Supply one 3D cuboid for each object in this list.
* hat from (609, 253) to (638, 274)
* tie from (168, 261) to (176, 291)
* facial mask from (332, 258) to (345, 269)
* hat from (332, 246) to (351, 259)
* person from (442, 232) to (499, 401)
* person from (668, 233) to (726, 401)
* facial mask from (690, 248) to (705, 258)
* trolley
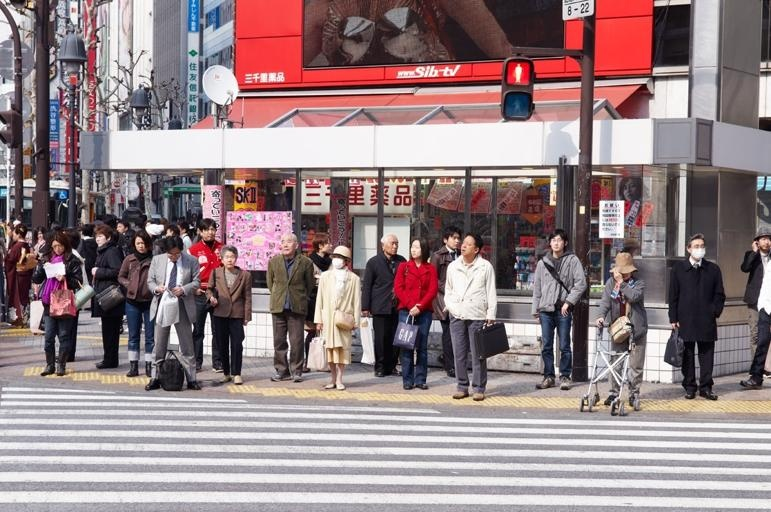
[{"bbox_3d":[3.915,0.111,17.857,0.322,0.242,0.417,2,7,13],"label":"hat"},{"bbox_3d":[-3.586,0.335,18.369,0.102,0.402,0.167,6,9,38],"label":"tie"},{"bbox_3d":[-0.805,0.118,18.684,0.158,0.148,0.170,5,-17,7],"label":"facial mask"},{"bbox_3d":[-0.737,-0.022,18.575,0.250,0.118,0.213,18,0,-36],"label":"hat"},{"bbox_3d":[1.392,1.032,18.083,0.844,2.747,0.547,1,7,9],"label":"person"},{"bbox_3d":[5.252,1.229,18.401,0.887,2.451,0.392,1,7,7],"label":"person"},{"bbox_3d":[5.243,-0.051,18.314,0.210,0.179,0.180,1,8,6],"label":"facial mask"},{"bbox_3d":[3.763,1.720,18.164,1.005,1.585,2.255,2,8,11],"label":"trolley"}]
